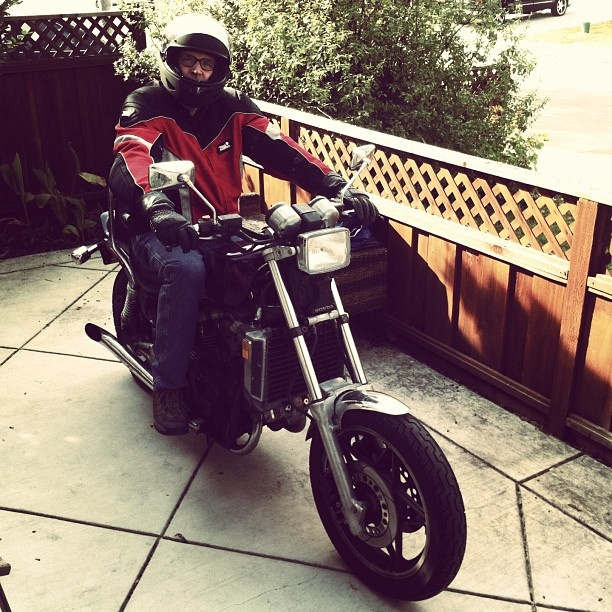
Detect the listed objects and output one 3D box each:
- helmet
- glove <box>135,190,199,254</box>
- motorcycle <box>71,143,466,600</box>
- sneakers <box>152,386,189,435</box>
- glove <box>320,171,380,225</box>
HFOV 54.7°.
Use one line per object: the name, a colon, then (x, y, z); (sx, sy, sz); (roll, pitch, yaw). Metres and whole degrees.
helmet: (-0.544, -1.141, 2.825); (0.345, 0.340, 0.437); (0, 54, -18)
glove: (-0.543, -0.354, 2.285); (0.138, 0.124, 0.391); (-13, 34, -21)
motorcycle: (-0.151, 0.092, 2.770); (1.038, 1.397, 2.391); (-13, 31, -31)
sneakers: (-0.652, 0.508, 2.817); (0.110, 0.124, 0.291); (-4, 25, -20)
glove: (0.166, -0.484, 2.682); (0.136, 0.144, 0.446); (-10, 30, -17)
